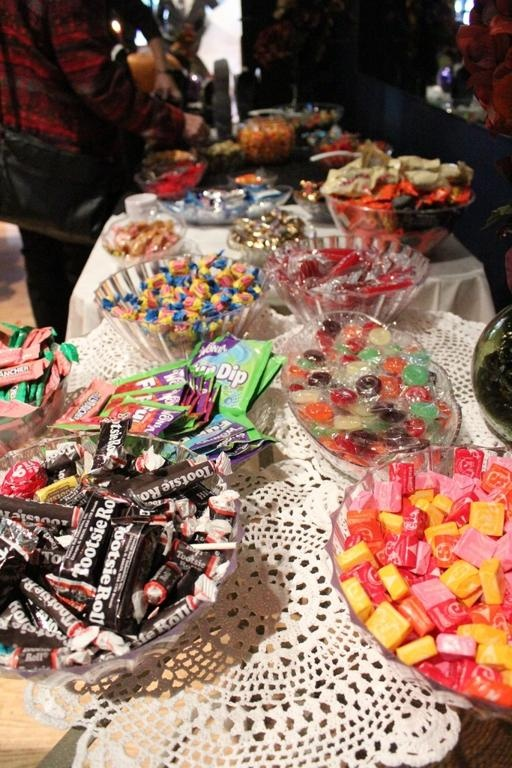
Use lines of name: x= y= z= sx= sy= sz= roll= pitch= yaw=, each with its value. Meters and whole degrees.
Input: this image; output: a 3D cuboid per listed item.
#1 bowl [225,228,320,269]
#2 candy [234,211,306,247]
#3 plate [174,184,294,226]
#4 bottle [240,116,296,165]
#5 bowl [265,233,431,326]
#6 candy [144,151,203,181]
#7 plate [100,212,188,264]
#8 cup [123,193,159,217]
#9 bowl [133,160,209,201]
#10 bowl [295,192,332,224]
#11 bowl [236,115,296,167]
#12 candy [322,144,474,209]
bowl: x=0.033 y=-0.348 z=1.558 sx=0.179 sy=0.054 sz=0.169 roll=-2 pitch=30 yaw=1
candy: x=0.037 y=-0.391 z=1.569 sx=0.160 sy=0.053 sz=0.146 roll=-5 pitch=35 yaw=-5
plate: x=-0.077 y=-0.546 z=1.858 sx=0.258 sy=0.055 sz=0.203 roll=-3 pitch=26 yaw=8
bottle: x=0.044 y=-0.883 z=2.239 sx=0.184 sy=0.161 sz=0.239 roll=8 pitch=29 yaw=14
bowl: x=0.216 y=-0.190 z=1.249 sx=0.252 sy=0.092 sz=0.239 roll=0 pitch=23 yaw=0
candy: x=-0.301 y=-0.758 z=2.141 sx=0.180 sy=0.072 sz=0.169 roll=5 pitch=30 yaw=32
plate: x=-0.301 y=-0.382 z=1.621 sx=0.174 sy=0.049 sz=0.165 roll=3 pitch=36 yaw=6
cup: x=-0.317 y=-0.498 z=1.714 sx=0.084 sy=0.048 sz=0.080 roll=1 pitch=35 yaw=-1
bowl: x=-0.259 y=-0.660 z=1.998 sx=0.195 sy=0.073 sz=0.186 roll=-17 pitch=30 yaw=10
bowl: x=0.174 y=-0.505 z=1.776 sx=0.102 sy=0.049 sz=0.096 roll=1 pitch=31 yaw=-1
bowl: x=0.059 y=-0.903 z=2.254 sx=0.220 sy=0.162 sz=0.209 roll=-7 pitch=29 yaw=4
candy: x=0.346 y=-0.471 z=1.433 sx=0.260 sy=0.091 sz=0.233 roll=-6 pitch=26 yaw=-8
